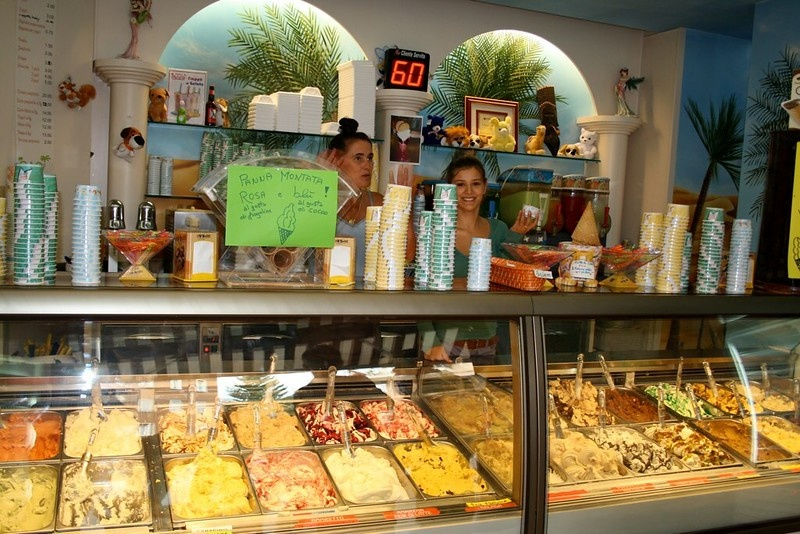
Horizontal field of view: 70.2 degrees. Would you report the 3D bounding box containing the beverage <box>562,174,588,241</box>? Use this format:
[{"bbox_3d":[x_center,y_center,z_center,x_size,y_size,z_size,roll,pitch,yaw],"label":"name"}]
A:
[{"bbox_3d":[1.416,-0.499,4.443,0.262,0.486,0.242,5,11,26],"label":"beverage"}]

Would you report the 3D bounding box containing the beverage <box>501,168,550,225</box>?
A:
[{"bbox_3d":[0.964,-0.509,4.200,0.286,0.407,0.446,2,7,-12],"label":"beverage"}]

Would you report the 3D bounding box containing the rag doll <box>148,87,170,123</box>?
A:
[{"bbox_3d":[-1.774,-1.166,4.137,0.152,0.237,0.354,-5,9,-29],"label":"rag doll"}]

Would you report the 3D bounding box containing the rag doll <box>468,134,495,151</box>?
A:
[{"bbox_3d":[0.689,-1.050,4.798,0.167,0.083,0.204,0,-6,7],"label":"rag doll"}]

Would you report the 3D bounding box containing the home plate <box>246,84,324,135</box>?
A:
[{"bbox_3d":[-0.830,-1.129,4.090,0.517,0.332,0.125,1,6,-9],"label":"home plate"}]

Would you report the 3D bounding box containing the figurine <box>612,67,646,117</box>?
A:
[{"bbox_3d":[2.172,-1.634,5.303,0.290,0.443,0.297,-4,28,8],"label":"figurine"}]

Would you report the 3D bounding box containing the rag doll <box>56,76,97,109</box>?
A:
[{"bbox_3d":[-2.236,-1.203,3.919,0.199,0.216,0.125,-2,7,-39],"label":"rag doll"}]

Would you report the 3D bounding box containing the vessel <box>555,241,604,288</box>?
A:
[{"bbox_3d":[0.646,-0.004,2.035,0.152,0.152,0.152,3,0,5],"label":"vessel"}]

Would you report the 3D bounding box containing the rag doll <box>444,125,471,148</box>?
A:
[{"bbox_3d":[0.500,-1.098,4.797,0.204,0.175,0.192,-3,9,-15],"label":"rag doll"}]

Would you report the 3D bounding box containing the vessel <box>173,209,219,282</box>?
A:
[{"bbox_3d":[-0.636,-0.059,1.779,0.120,0.186,0.122,13,14,43],"label":"vessel"}]

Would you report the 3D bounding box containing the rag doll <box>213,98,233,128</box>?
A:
[{"bbox_3d":[-1.329,-1.152,4.243,0.100,0.238,0.221,0,6,-19],"label":"rag doll"}]

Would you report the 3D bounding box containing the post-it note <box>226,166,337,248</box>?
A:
[{"bbox_3d":[-0.368,-0.186,1.714,0.276,0.175,0.004,1,0,-14],"label":"post-it note"}]

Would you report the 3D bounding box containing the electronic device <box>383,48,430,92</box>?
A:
[{"bbox_3d":[0.045,-1.489,4.320,0.394,0.324,0.129,2,5,-14],"label":"electronic device"}]
